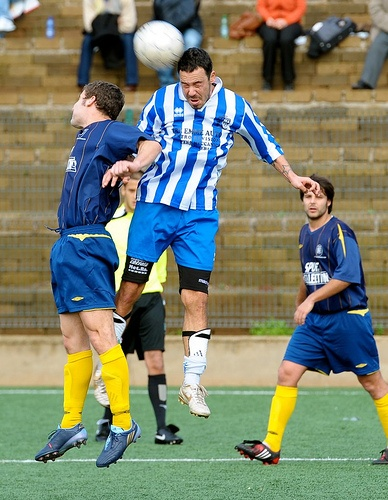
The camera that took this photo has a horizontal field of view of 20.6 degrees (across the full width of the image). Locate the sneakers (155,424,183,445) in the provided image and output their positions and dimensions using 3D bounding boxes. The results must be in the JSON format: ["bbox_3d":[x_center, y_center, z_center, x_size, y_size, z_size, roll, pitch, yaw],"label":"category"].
[{"bbox_3d":[-0.195,1.417,8.183,0.098,0.153,0.262,5,-12,-43],"label":"sneakers"}]

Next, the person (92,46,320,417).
[{"bbox_3d":[0.091,-0.129,7.135,1.269,2.531,0.966,5,4,3],"label":"person"}]

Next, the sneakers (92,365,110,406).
[{"bbox_3d":[-0.725,1.026,8.119,0.132,0.195,0.259,-7,-41,22],"label":"sneakers"}]

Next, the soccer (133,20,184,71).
[{"bbox_3d":[-0.249,-1.437,7.558,0.313,0.324,0.182,-26,-8,1],"label":"soccer"}]

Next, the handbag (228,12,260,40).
[{"bbox_3d":[0.670,-2.948,14.013,0.377,0.298,0.158,-20,-31,14],"label":"handbag"}]

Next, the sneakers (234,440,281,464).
[{"bbox_3d":[0.432,1.398,7.351,0.308,0.178,0.211,-1,1,-2],"label":"sneakers"}]

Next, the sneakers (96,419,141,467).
[{"bbox_3d":[-0.506,1.311,7.171,0.127,0.406,0.192,15,-23,44],"label":"sneakers"}]

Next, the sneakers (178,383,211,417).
[{"bbox_3d":[-0.008,0.997,6.945,0.183,0.239,0.364,-1,1,-2],"label":"sneakers"}]

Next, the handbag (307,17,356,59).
[{"bbox_3d":[1.729,-2.788,13.653,0.581,0.198,0.434,-38,54,-13],"label":"handbag"}]
